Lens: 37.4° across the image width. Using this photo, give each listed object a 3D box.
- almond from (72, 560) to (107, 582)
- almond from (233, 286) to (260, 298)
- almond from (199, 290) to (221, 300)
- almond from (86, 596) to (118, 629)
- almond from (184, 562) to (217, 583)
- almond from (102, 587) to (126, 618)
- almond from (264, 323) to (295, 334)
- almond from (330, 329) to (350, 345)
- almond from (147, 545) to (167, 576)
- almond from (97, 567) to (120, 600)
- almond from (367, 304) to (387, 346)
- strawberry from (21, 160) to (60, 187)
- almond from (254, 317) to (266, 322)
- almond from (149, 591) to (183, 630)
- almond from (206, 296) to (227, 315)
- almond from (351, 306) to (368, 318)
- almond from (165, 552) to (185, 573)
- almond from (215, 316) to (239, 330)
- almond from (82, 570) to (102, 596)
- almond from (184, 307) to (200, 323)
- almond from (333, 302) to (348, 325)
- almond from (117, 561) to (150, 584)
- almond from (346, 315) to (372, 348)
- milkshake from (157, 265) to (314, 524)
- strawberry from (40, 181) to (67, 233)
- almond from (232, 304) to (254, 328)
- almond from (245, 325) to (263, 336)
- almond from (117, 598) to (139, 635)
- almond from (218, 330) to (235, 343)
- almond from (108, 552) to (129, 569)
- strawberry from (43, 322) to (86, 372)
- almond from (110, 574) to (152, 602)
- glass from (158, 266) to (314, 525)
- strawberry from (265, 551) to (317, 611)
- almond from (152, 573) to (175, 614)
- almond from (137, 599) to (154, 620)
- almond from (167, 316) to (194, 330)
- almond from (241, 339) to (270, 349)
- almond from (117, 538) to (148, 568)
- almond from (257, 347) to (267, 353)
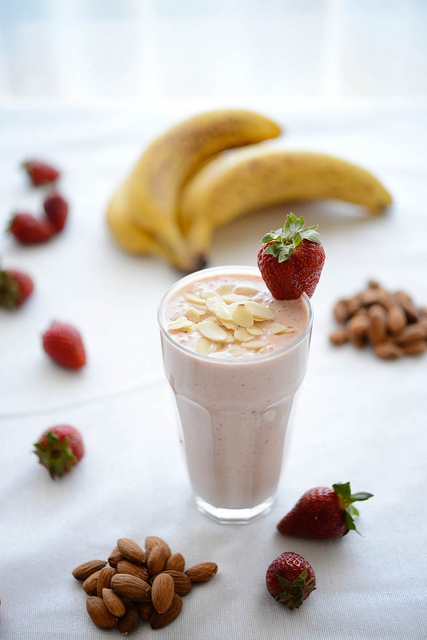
[{"bbox_3d":[-0.163,0.323,0.821,0.038,0.012,0.021,-20,18,-29],"label":"almond"},{"bbox_3d":[0.040,-0.039,0.867,0.028,0.006,0.016,5,40,10],"label":"almond"},{"bbox_3d":[-0.006,-0.033,0.846,0.023,0.005,0.012,-1,33,-3],"label":"almond"},{"bbox_3d":[-0.137,0.350,0.755,0.042,0.025,0.025,44,84,4],"label":"almond"},{"bbox_3d":[-0.017,0.325,0.826,0.039,0.017,0.019,-13,21,-20],"label":"almond"},{"bbox_3d":[-0.121,0.336,0.756,0.012,0.019,0.032,-14,54,-46],"label":"almond"},{"bbox_3d":[0.082,0.010,0.792,0.037,0.006,0.020,-1,36,-1],"label":"almond"},{"bbox_3d":[0.259,0.034,1.289,0.035,0.022,0.031,10,26,40],"label":"almond"},{"bbox_3d":[-0.072,0.303,0.800,0.017,0.019,0.031,14,72,-5],"label":"almond"},{"bbox_3d":[-0.131,0.325,0.779,0.022,0.011,0.031,7,70,21],"label":"almond"},{"bbox_3d":[0.329,0.012,1.266,0.046,0.072,0.018,-2,-2,13],"label":"almond"},{"bbox_3d":[-0.390,-0.331,1.398,0.084,0.044,0.029,3,8,-22],"label":"strawberry"},{"bbox_3d":[0.058,0.000,0.802,0.014,0.010,0.005,0,39,1],"label":"almond"},{"bbox_3d":[-0.059,0.351,0.764,0.029,0.014,0.043,33,59,11],"label":"almond"},{"bbox_3d":[0.013,-0.019,0.839,0.019,0.006,0.022,2,40,-4],"label":"almond"},{"bbox_3d":[0.305,-0.017,1.303,0.006,0.022,0.016,46,14,-12],"label":"almond"},{"bbox_3d":[-0.050,0.313,0.814,0.019,0.013,0.022,10,52,8],"label":"almond"},{"bbox_3d":[0.015,0.008,0.793,0.023,0.013,0.005,12,9,26],"label":"almond"},{"bbox_3d":[-0.156,0.330,0.791,0.020,0.037,0.020,4,52,-19],"label":"almond"},{"bbox_3d":[-0.031,-0.006,0.817,0.015,0.005,0.018,-1,75,5],"label":"almond"},{"bbox_3d":[0.271,-0.015,1.324,0.032,0.011,0.040,7,73,6],"label":"almond"},{"bbox_3d":[-0.100,0.311,0.789,0.040,0.012,0.020,20,14,18],"label":"almond"},{"bbox_3d":[0.294,0.021,1.272,0.052,0.060,0.036,0,-3,20],"label":"almond"},{"bbox_3d":[0.020,0.112,0.913,0.233,0.324,0.220,12,24,29],"label":"milkshake"},{"bbox_3d":[-0.355,-0.247,1.387,0.036,0.104,0.060,10,36,18],"label":"strawberry"},{"bbox_3d":[0.035,-0.004,0.798,0.024,0.017,0.032,-19,40,-24],"label":"almond"},{"bbox_3d":[0.051,0.013,0.789,0.013,0.003,0.015,-1,28,-6],"label":"almond"},{"bbox_3d":[-0.104,0.355,0.754,0.021,0.022,0.034,4,71,-14],"label":"almond"},{"bbox_3d":[0.015,0.021,0.783,0.019,0.004,0.018,5,45,6],"label":"almond"},{"bbox_3d":[-0.129,0.308,0.810,0.016,0.011,0.021,0,3,1],"label":"almond"},{"bbox_3d":[-0.299,0.045,1.285,0.100,0.079,0.090,-13,27,-36],"label":"strawberry"},{"bbox_3d":[-0.099,0.322,0.759,0.052,0.023,0.025,13,32,1],"label":"almond"},{"bbox_3d":[0.028,0.110,0.878,0.173,0.401,0.149,2,36,2],"label":"glass"},{"bbox_3d":[0.092,0.313,0.795,0.072,0.054,0.078,-9,10,-19],"label":"strawberry"},{"bbox_3d":[-0.066,0.330,0.768,0.030,0.028,0.052,6,39,-4],"label":"almond"},{"bbox_3d":[-0.086,0.349,0.764,0.021,0.009,0.026,2,79,8],"label":"almond"},{"bbox_3d":[-0.044,0.005,0.804,0.024,0.004,0.016,-18,35,-26],"label":"almond"},{"bbox_3d":[0.050,0.029,0.771,0.034,0.006,0.019,3,36,5],"label":"almond"},{"bbox_3d":[-0.105,0.296,0.805,0.040,0.021,0.015,40,33,27],"label":"almond"},{"bbox_3d":[0.058,0.036,0.763,0.011,0.003,0.009,5,36,7],"label":"almond"}]
